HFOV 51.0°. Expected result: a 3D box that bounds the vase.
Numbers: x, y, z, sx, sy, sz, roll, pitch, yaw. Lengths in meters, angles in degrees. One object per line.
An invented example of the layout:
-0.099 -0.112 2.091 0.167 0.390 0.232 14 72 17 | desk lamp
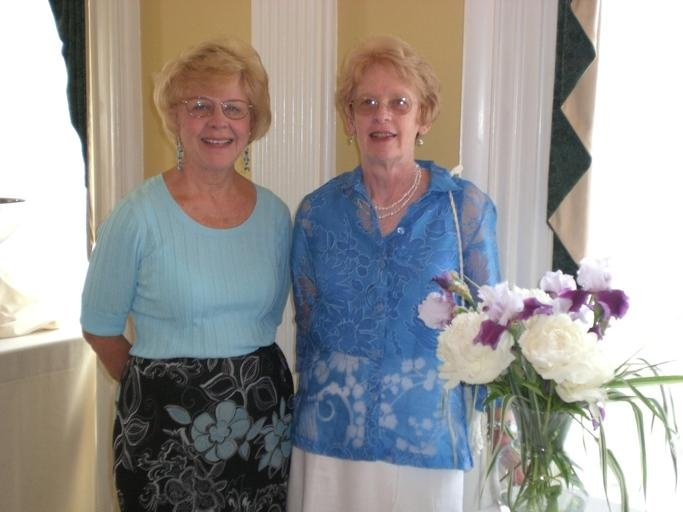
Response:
0.549 0.532 2.033 0.250 0.312 0.264 -1 -5 -4 | vase
